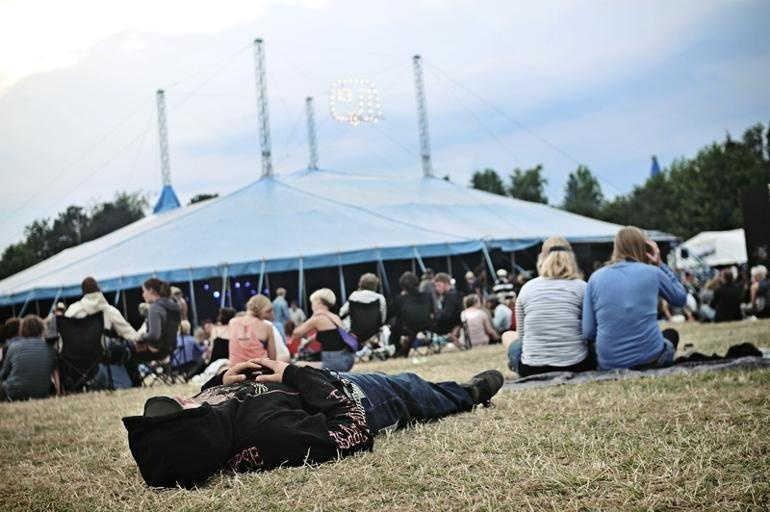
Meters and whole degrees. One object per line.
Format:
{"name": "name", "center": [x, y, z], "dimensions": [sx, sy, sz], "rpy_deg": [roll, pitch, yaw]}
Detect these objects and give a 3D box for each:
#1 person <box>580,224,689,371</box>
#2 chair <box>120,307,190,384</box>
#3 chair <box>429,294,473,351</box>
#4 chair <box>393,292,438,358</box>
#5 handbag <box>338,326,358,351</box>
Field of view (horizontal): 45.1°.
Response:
{"name": "person", "center": [2.989, 0.522, 11.332], "dimensions": [1.169, 1.719, 0.393], "rpy_deg": [-4, -4, 13]}
{"name": "chair", "center": [-3.272, 1.480, 13.779], "dimensions": [0.698, 1.322, 0.788], "rpy_deg": [10, 6, -15]}
{"name": "chair", "center": [1.065, 1.013, 15.904], "dimensions": [0.704, 1.069, 0.790], "rpy_deg": [-5, 16, 15]}
{"name": "chair", "center": [0.427, 1.122, 15.241], "dimensions": [0.799, 1.318, 0.908], "rpy_deg": [-1, 0, -11]}
{"name": "handbag", "center": [-0.514, 1.222, 13.560], "dimensions": [0.161, 0.366, 0.419], "rpy_deg": [-5, -5, 24]}
